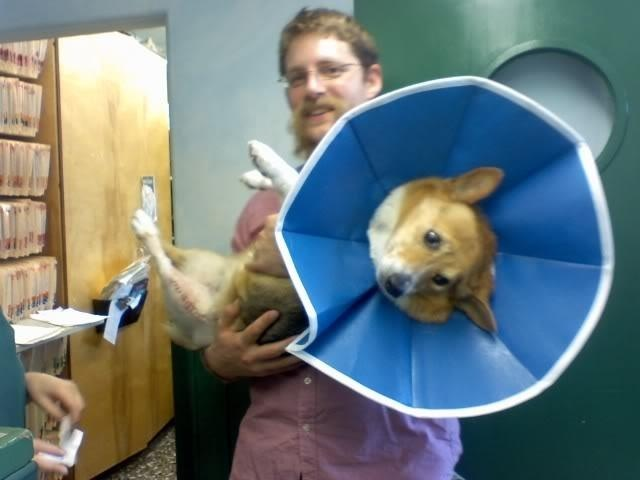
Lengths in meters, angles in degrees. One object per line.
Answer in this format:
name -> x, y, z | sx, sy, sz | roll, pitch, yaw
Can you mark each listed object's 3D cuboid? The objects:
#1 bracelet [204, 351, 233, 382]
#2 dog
bracelet -> -0.210, 0.270, 1.430 | 0.070, 0.026, 0.059 | 44, 0, -7
dog -> -0.012, -0.003, 1.213 | 0.539, 0.352, 0.370 | -2, 8, -6
